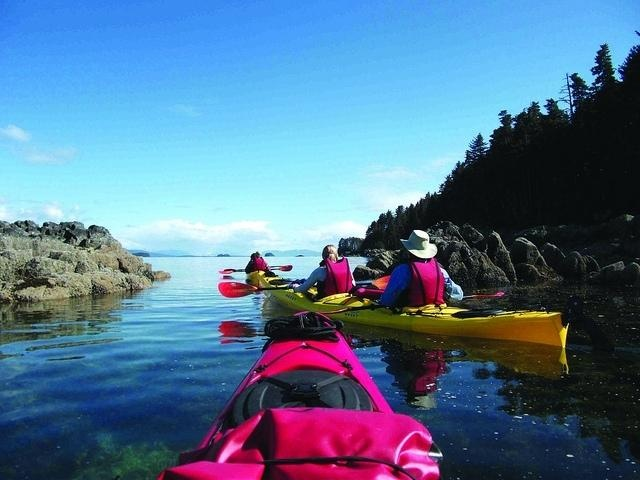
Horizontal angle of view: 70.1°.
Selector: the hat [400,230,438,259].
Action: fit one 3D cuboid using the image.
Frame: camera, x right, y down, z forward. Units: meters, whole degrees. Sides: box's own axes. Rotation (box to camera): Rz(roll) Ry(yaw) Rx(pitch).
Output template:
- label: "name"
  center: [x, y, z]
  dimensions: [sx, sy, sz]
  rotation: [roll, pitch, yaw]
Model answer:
- label: "hat"
  center: [1.902, 0.069, 8.592]
  dimensions: [0.652, 0.255, 0.614]
  rotation: [5, 17, -3]
